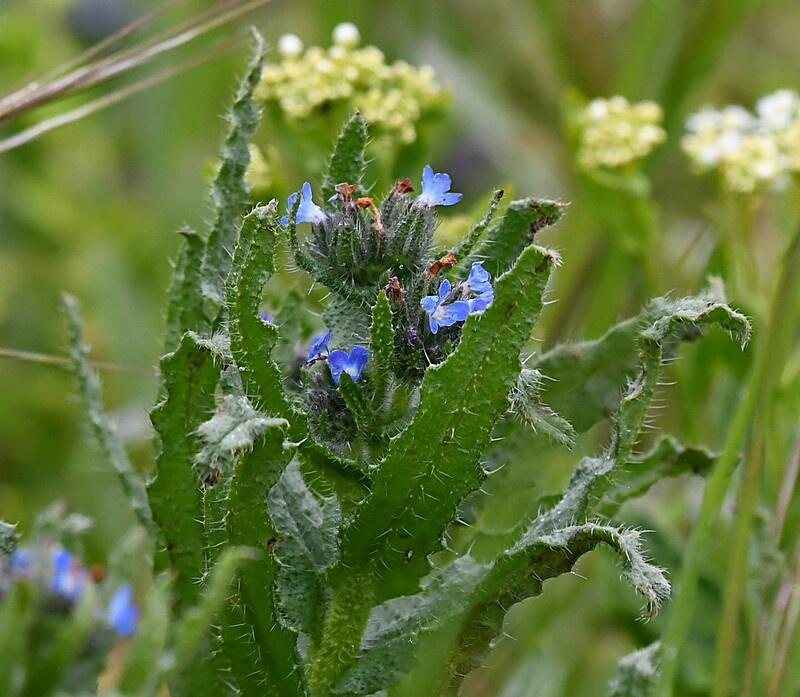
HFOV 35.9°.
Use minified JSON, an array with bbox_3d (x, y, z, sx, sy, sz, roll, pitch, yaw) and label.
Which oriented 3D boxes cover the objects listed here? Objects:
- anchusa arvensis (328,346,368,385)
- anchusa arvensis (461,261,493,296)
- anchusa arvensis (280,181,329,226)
[{"bbox_3d":[-0.064,0.023,1.552,0.052,0.058,0.069,3,8,-2],"label":"anchusa arvensis"},{"bbox_3d":[0.098,-0.088,1.559,0.032,0.038,0.023,-10,-27,32],"label":"anchusa arvensis"},{"bbox_3d":[-0.117,-0.195,1.594,0.018,0.046,0.045,-32,43,-9],"label":"anchusa arvensis"}]
